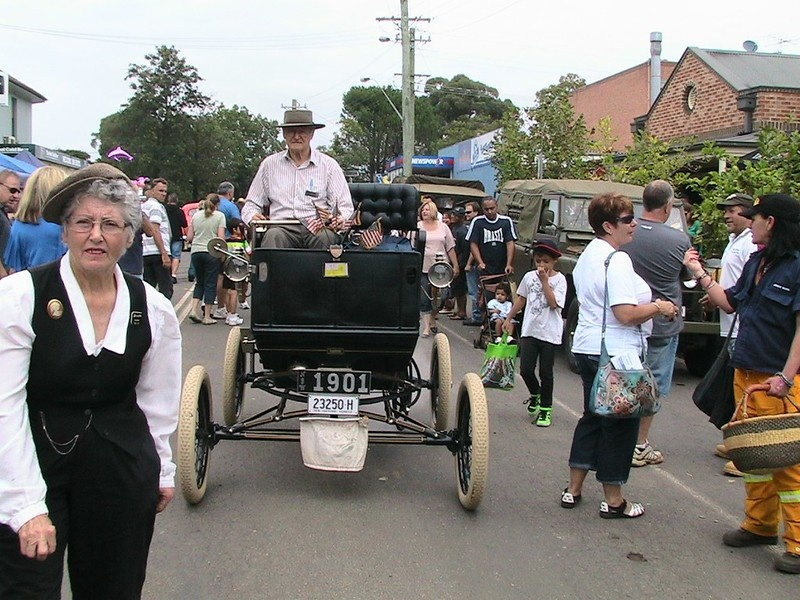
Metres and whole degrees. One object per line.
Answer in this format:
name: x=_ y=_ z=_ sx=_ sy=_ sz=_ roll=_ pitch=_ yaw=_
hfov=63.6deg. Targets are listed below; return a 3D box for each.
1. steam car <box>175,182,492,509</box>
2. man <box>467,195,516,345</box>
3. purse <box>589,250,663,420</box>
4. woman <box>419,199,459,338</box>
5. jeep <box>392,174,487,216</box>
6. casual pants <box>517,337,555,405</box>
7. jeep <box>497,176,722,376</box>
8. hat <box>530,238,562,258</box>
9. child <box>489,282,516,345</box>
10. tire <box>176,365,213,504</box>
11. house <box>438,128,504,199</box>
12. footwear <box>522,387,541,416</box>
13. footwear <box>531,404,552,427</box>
steam car: x=-0.590 y=0.328 z=6.223 sx=2.177 sy=2.836 sz=3.654 roll=3 pitch=-3 yaw=-6
man: x=1.740 y=-0.603 z=11.837 sx=0.783 sy=2.609 sz=0.758 roll=-1 pitch=17 yaw=13
purse: x=1.693 y=0.282 z=4.765 sx=0.495 sy=1.253 sz=0.399 roll=4 pitch=9 yaw=18
woman: x=0.517 y=-0.633 z=11.549 sx=0.974 sy=2.452 sz=0.761 roll=0 pitch=5 yaw=-7
jeep: x=1.759 y=-3.469 z=20.394 sx=2.266 sy=1.334 sz=3.790 roll=-2 pitch=11 yaw=-13
casual pants: x=1.509 y=0.783 z=7.147 sx=0.335 sy=0.330 sz=0.865 roll=5 pitch=53 yaw=12
jeep: x=3.444 y=-0.785 z=11.655 sx=2.582 sy=3.084 sz=4.988 roll=-8 pitch=11 yaw=-14
hat: x=1.553 y=-0.574 z=6.970 sx=0.260 sy=0.116 sz=0.305 roll=12 pitch=17 yaw=-7
child: x=1.481 y=0.197 z=9.466 sx=0.373 sy=0.937 sz=0.637 roll=3 pitch=-7 yaw=5
tire: x=-1.626 y=1.082 z=5.107 sx=0.248 sy=1.089 sz=1.011 roll=1 pitch=5 yaw=-9
house: x=5.157 y=-7.821 z=40.430 sx=3.347 sy=4.339 sz=5.866 roll=-6 pitch=9 yaw=-35
footwear: x=1.525 y=1.177 z=7.437 sx=0.290 sy=0.251 sz=0.557 roll=-1 pitch=0 yaw=15
footwear: x=1.590 y=1.258 z=7.136 sx=0.189 sy=0.219 sz=0.359 roll=4 pitch=9 yaw=13
